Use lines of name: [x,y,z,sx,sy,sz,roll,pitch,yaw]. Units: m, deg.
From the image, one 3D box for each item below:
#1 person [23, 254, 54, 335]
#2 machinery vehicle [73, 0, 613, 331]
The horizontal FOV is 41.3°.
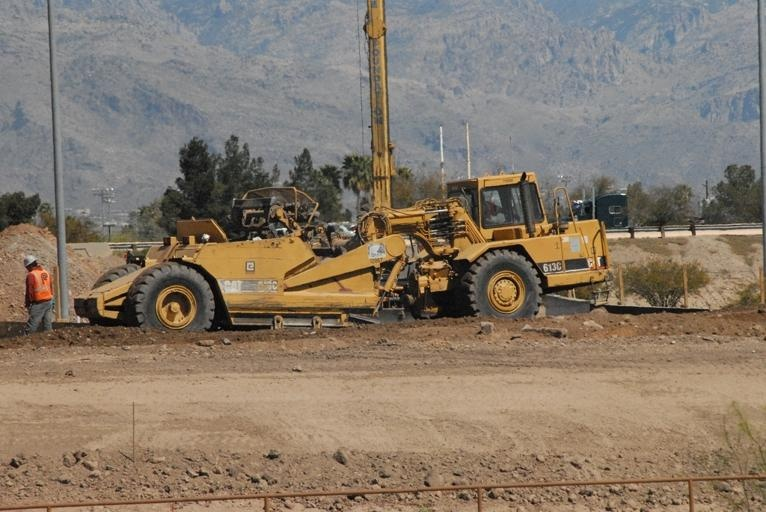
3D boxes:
person: [-8.374,0.960,24.642,0.650,1.790,0.735,-1,1,-20]
machinery vehicle: [-1.290,-0.898,29.138,13.887,10.032,5.249,1,-2,-13]
